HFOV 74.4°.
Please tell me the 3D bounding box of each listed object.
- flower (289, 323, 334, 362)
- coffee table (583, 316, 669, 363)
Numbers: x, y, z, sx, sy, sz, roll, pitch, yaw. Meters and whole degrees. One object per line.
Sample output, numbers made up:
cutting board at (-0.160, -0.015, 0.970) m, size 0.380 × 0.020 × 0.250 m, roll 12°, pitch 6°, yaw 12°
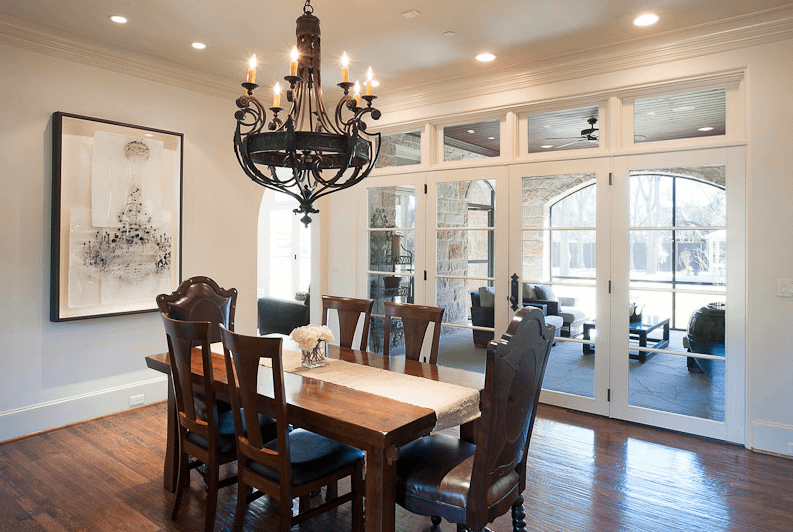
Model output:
flower at (-0.664, 0.603, 4.117) m, size 0.313 × 0.302 × 0.312 m, roll 1°, pitch -5°, yaw -44°
coffee table at (2.398, 0.653, 5.065) m, size 0.509 × 0.311 × 0.516 m, roll -3°, pitch -5°, yaw 43°
